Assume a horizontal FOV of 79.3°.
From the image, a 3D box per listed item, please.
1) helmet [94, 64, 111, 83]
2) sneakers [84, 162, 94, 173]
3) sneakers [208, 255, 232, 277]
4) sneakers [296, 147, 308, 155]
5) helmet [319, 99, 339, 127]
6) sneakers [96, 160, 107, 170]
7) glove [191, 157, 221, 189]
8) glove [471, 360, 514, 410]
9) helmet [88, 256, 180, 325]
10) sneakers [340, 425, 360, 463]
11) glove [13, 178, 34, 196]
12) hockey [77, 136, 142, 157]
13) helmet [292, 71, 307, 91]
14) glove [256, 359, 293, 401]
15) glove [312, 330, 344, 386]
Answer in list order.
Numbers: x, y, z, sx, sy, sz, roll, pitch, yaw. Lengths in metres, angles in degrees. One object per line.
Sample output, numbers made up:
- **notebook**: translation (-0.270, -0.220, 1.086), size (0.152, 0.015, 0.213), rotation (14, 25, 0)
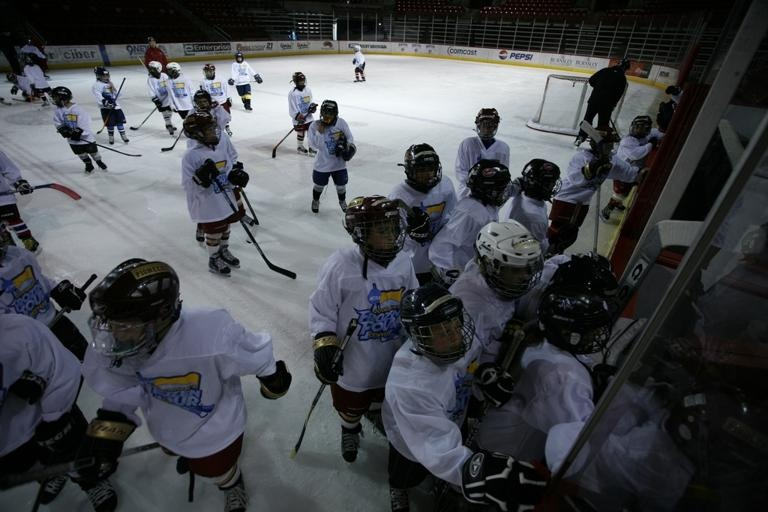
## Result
- **helmet**: translation (-6.143, -3.912, 10.058), size (0.213, 0.356, 0.532), rotation (-15, 33, -29)
- **sneakers**: translation (-5.674, -1.685, 8.865), size (0.126, 0.252, 0.244), rotation (5, 47, -33)
- **sneakers**: translation (-2.220, 0.139, 6.247), size (0.399, 0.235, 0.176), rotation (18, 34, 2)
- **sneakers**: translation (-1.829, -2.352, 10.329), size (0.224, 0.093, 0.151), rotation (19, 35, 30)
- **helmet**: translation (-0.830, -2.318, 7.587), size (0.360, 0.406, 0.408), rotation (1, 23, -3)
- **sneakers**: translation (-5.536, -1.784, 9.025), size (0.149, 0.206, 0.230), rotation (-16, 33, -30)
- **glove**: translation (-2.176, -1.003, 5.659), size (0.127, 0.329, 0.329), rotation (29, 60, 32)
- **glove**: translation (0.808, 0.950, 3.540), size (0.281, 0.300, 0.350), rotation (-6, 5, -24)
- **helmet**: translation (-1.766, 0.307, 3.286), size (0.487, 0.505, 0.590), rotation (7, 10, 35)
- **sneakers**: translation (-0.299, 1.658, 4.123), size (0.128, 0.143, 0.350), rotation (1, 60, -18)
- **glove**: translation (-4.906, -0.927, 6.290), size (0.221, 0.129, 0.323), rotation (-2, 28, -23)
- **hockey**: translation (-5.793, -2.275, 9.713), size (1.940, 0.262, 0.226), rotation (25, 40, 30)
- **helmet**: translation (-1.807, -3.689, 9.839), size (0.204, 0.365, 0.428), rotation (-1, 28, -6)
- **glove**: translation (-0.837, 1.005, 3.674), size (0.209, 0.312, 0.325), rotation (10, -20, -27)
- **glove**: translation (-0.469, 0.872, 3.806), size (0.219, 0.510, 0.321), rotation (-2, 29, -8)
